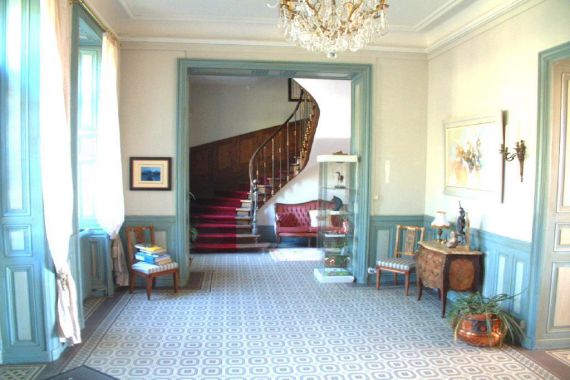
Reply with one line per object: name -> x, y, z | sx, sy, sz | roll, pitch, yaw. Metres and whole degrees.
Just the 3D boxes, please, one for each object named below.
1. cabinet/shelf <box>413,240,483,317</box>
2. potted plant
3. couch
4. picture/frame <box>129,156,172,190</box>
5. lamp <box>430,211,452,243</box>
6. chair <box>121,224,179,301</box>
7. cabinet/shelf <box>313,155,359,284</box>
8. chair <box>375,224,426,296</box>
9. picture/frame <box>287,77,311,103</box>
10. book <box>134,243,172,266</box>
cabinet/shelf -> 2.519, 1.356, 6.238 | 0.642, 0.945, 0.989 | 2, 3, -7
potted plant -> 2.728, 1.711, 5.317 | 0.784, 0.527, 0.787 | 0, 2, 20
couch -> 0.646, 0.876, 10.413 | 1.878, 1.131, 1.007 | -1, 3, 7
picture/frame -> -2.302, -0.301, 6.787 | 0.660, 0.569, 0.039 | 0, -2, -7
lamp -> 2.516, 0.591, 6.386 | 0.352, 0.463, 0.326 | 0, -1, 26
chair -> -2.201, 1.151, 6.559 | 0.744, 1.057, 0.770 | -1, 5, -44
cabinet/shelf -> 0.952, 0.504, 7.219 | 0.746, 2.333, 0.574 | 1, 11, 3
chair -> 2.026, 1.186, 6.882 | 0.660, 1.082, 0.703 | 2, 4, 39
picture/frame -> 0.390, -3.125, 12.120 | 0.532, 0.703, 1.063 | 1, 10, -2
book -> -2.178, 1.026, 6.497 | 0.577, 0.267, 0.316 | 8, 13, 35
